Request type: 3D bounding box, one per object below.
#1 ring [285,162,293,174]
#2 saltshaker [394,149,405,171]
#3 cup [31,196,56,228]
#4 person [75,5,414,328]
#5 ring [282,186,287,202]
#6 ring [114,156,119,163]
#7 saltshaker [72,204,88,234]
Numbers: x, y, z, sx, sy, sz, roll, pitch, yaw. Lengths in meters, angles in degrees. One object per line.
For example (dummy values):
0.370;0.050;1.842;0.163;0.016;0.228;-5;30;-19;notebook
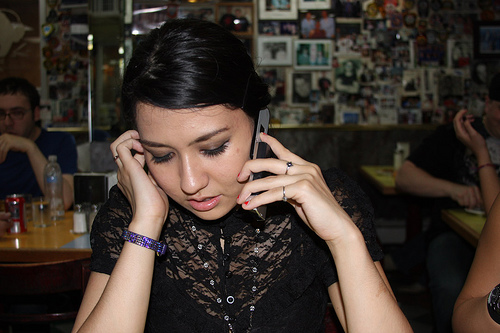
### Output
0.181;0.016;2.096;0.017;0.041;0.022;5;-14;33;ring
1.504;-0.065;4.622;0.093;0.213;0.165;7;11;38;saltshaker
-1.463;0.311;3.242;0.203;0.250;0.198;1;2;0;cup
-0.101;0.072;2.272;1.659;1.580;0.554;0;9;2;person
0.161;0.127;2.095;0.024;0.077;0.079;1;9;5;ring
-0.701;-0.032;2.387;0.033;0.022;0.031;-29;2;1;ring
-1.180;0.359;3.115;0.164;0.183;0.099;5;10;30;saltshaker
